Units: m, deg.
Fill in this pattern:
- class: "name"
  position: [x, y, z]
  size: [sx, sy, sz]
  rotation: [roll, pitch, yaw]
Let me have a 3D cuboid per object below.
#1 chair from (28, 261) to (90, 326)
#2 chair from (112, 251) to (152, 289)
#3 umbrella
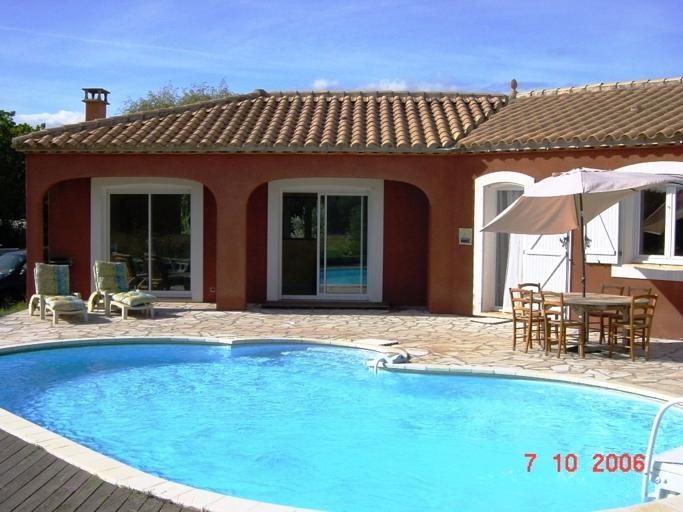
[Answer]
- class: "chair"
  position: [-6.619, 0.817, 13.670]
  size: [1.011, 1.153, 1.955]
  rotation: [1, 4, -40]
- class: "chair"
  position: [-6.090, 0.414, 16.785]
  size: [1.184, 1.220, 0.974]
  rotation: [1, 4, 20]
- class: "umbrella"
  position: [4.276, 0.140, 11.423]
  size: [4.056, 3.021, 3.814]
  rotation: [1, 2, 23]
